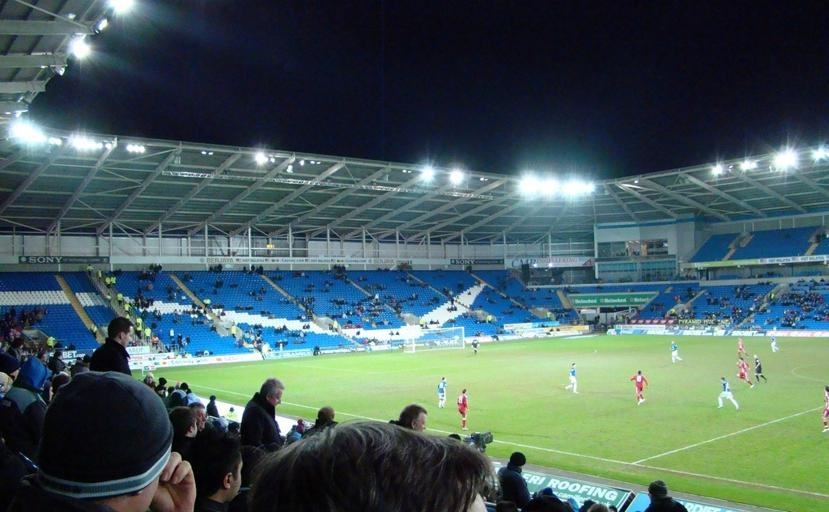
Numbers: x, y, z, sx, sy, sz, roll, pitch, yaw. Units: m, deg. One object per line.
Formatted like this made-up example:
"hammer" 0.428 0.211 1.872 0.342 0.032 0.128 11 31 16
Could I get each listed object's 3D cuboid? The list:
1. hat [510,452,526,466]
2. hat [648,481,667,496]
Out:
"hat" 3.675 7.205 23.721 0.498 0.442 0.588 0 9 3
"hat" 8.203 7.793 22.465 0.541 0.385 0.477 -3 3 4
